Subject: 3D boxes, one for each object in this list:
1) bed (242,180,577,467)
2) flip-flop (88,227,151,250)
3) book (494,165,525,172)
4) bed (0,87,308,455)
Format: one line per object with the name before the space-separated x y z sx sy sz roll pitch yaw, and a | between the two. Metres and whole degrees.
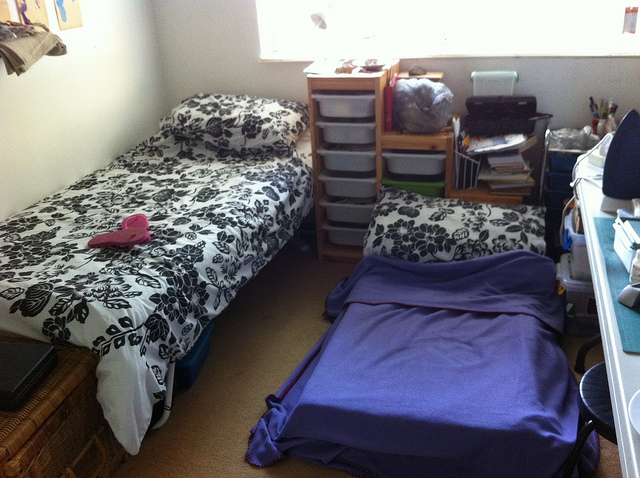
bed | 0.641 0.398 2.398 1.364 0.504 1.860 4 27 25
flip-flop | -0.981 -0.003 2.220 0.215 0.035 0.118 -10 37 -12
book | 1.131 -0.427 2.728 0.167 0.035 0.018 2 27 11
bed | -0.805 0.024 2.722 1.216 0.833 2.050 13 38 15
